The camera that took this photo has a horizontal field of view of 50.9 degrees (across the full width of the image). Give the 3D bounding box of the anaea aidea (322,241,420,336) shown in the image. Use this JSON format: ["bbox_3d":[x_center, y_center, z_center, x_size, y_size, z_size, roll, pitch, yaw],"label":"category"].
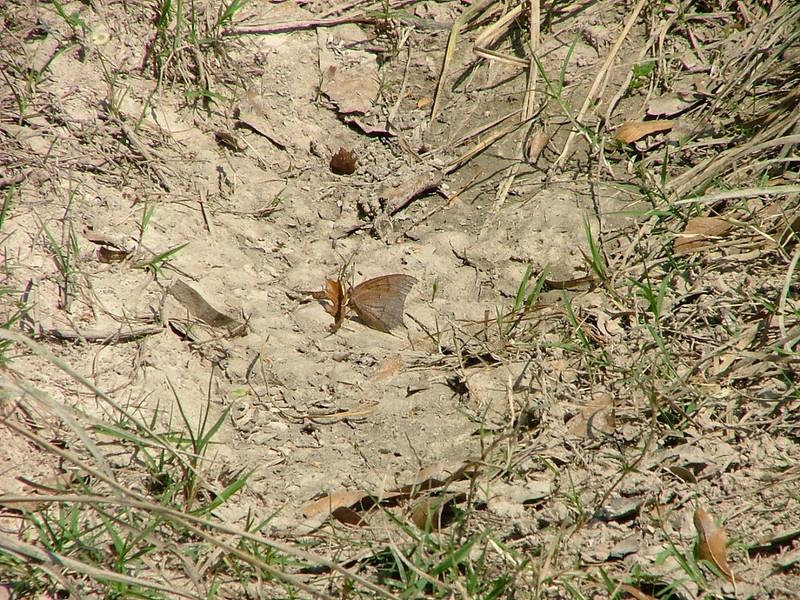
[{"bbox_3d":[-0.213,0.014,4.536,0.596,0.361,0.318,14,68,15],"label":"anaea aidea"}]
